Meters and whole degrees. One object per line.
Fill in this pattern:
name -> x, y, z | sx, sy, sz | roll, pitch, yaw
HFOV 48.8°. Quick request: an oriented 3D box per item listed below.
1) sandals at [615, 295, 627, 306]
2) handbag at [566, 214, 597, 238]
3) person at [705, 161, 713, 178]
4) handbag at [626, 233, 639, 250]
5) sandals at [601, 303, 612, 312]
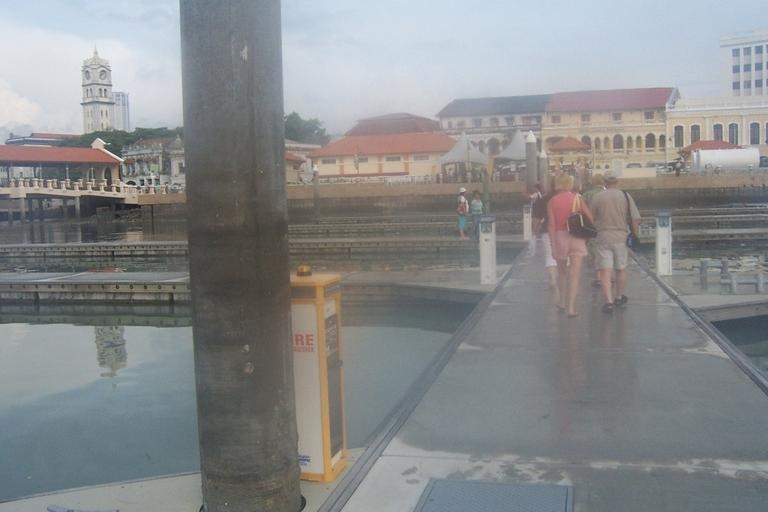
sandals -> 3.861, 0.708, 13.761 | 0.114, 0.099, 0.246 | 2, 31, 39
handbag -> 2.898, -0.451, 12.550 | 0.442, 0.425, 0.278 | -1, 7, 2
person -> 21.401, -5.806, 55.749 | 0.606, 1.051, 0.596 | 3, -4, -7
handbag -> 3.769, -0.234, 12.869 | 0.129, 0.223, 0.225 | -7, 7, -13
sandals -> 3.462, 0.808, 13.212 | 0.142, 0.106, 0.254 | -2, -5, 15
